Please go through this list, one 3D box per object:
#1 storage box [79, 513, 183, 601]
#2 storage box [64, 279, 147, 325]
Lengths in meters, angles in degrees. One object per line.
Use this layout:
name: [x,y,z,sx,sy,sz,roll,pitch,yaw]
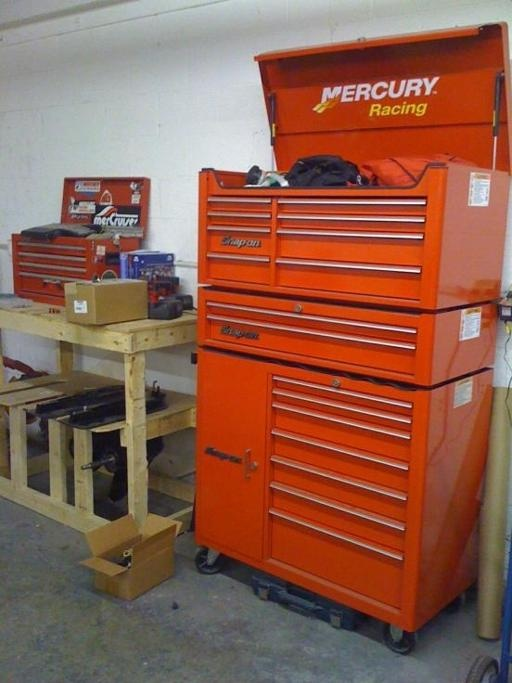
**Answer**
storage box: [-0.434,0.765,2.166,0.243,0.205,0.351,5,9,36]
storage box: [-0.627,-0.170,2.468,0.228,0.137,0.240,8,11,41]
